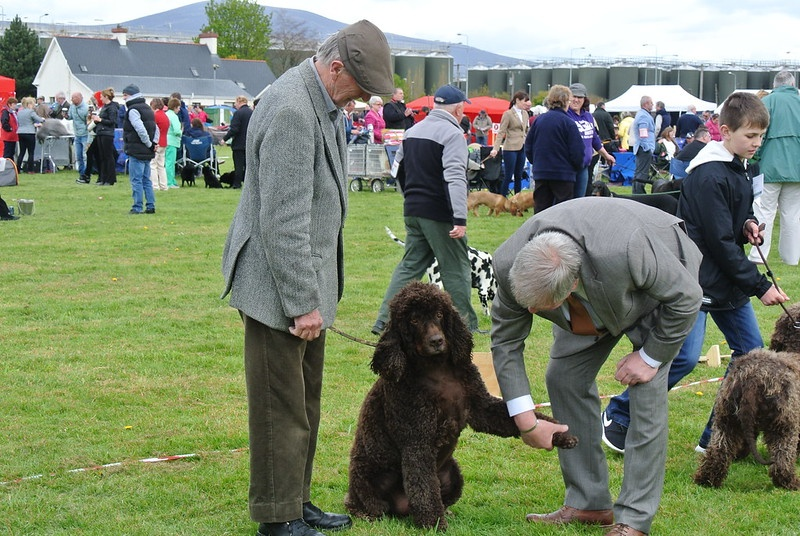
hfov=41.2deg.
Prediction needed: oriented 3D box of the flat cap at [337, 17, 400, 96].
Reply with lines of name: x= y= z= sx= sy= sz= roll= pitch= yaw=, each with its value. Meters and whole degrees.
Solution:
flat cap: x=-0.274 y=-1.901 z=9.355 sx=0.550 sy=0.414 sz=0.734 roll=-8 pitch=49 yaw=-39

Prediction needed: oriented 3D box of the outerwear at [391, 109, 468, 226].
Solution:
outerwear: x=0.421 y=-1.290 z=13.205 sx=0.711 sy=1.365 sz=1.525 roll=4 pitch=5 yaw=-34

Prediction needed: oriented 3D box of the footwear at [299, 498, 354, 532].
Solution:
footwear: x=-0.693 y=2.257 z=9.680 sx=0.567 sy=0.337 sz=0.189 roll=-3 pitch=5 yaw=-12

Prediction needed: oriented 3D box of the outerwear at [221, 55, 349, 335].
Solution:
outerwear: x=-1.025 y=-0.652 z=9.258 sx=1.090 sy=2.360 sz=0.615 roll=0 pitch=9 yaw=-7

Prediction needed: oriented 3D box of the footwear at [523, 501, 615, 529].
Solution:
footwear: x=1.603 y=2.237 z=9.938 sx=0.809 sy=0.307 sz=0.280 roll=4 pitch=-4 yaw=7

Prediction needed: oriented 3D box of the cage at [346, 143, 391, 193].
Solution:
cage: x=-0.701 y=-2.379 z=25.234 sx=1.239 sy=1.195 sz=0.795 roll=4 pitch=7 yaw=-3

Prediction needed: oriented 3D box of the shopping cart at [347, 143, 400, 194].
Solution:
shopping cart: x=-0.592 y=-2.416 z=25.309 sx=0.881 sy=1.059 sz=1.413 roll=-12 pitch=13 yaw=-43
